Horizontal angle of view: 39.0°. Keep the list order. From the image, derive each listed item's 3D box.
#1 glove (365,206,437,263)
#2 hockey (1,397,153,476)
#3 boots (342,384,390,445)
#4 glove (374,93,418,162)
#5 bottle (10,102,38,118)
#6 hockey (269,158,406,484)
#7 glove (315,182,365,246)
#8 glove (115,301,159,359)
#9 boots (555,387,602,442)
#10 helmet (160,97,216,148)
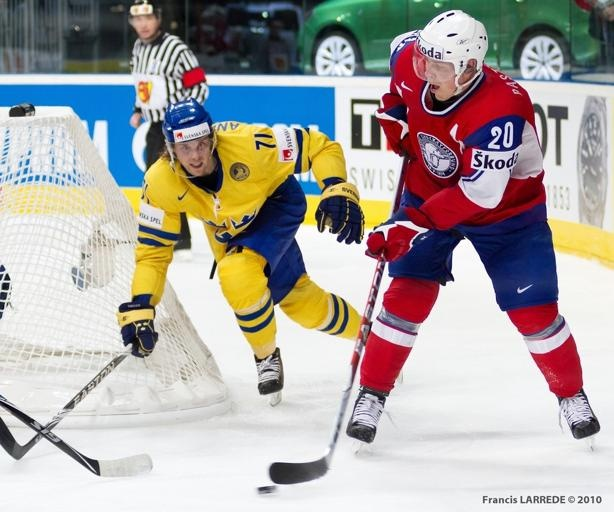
[{"bbox_3d":[0.325,-0.074,2.923,0.143,0.221,0.083,51,26,18],"label":"glove"},{"bbox_3d":[-0.754,0.565,2.700,0.576,0.160,0.126,5,12,20],"label":"hockey"},{"bbox_3d":[0.187,0.522,2.874,0.073,0.102,0.239,22,7,4],"label":"boots"},{"bbox_3d":[0.316,-0.465,3.149,0.087,0.237,0.152,-32,7,-33],"label":"glove"},{"bbox_3d":[-1.055,-0.542,3.216,0.087,0.044,0.217,-3,12,-14],"label":"bottle"},{"bbox_3d":[0.107,0.272,3.314,0.219,0.065,1.576,3,38,20],"label":"hockey"},{"bbox_3d":[0.128,-0.153,3.061,0.188,0.206,0.087,8,-9,-10],"label":"glove"},{"bbox_3d":[-0.583,0.246,2.995,0.137,0.181,0.079,-6,-20,-23],"label":"glove"},{"bbox_3d":[0.902,0.526,2.893,0.074,0.093,0.222,-28,1,7],"label":"boots"},{"bbox_3d":[-0.411,-0.463,2.990,0.163,0.152,0.171,-1,12,-8],"label":"helmet"}]
